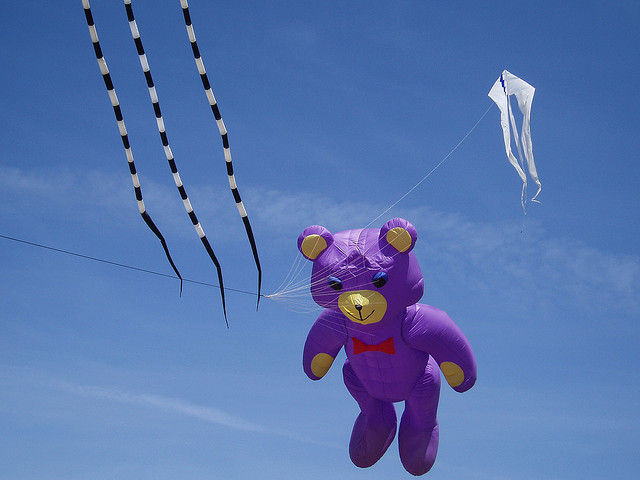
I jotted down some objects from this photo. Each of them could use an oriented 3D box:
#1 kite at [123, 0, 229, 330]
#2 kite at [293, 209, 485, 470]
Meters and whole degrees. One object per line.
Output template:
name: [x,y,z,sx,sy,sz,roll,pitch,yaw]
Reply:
kite: [-1.788,-1.237,8.264,0.501,0.358,4.879,-16,-79,-17]
kite: [1.096,1.580,11.930,3.053,2.222,5.199,-4,-81,23]
